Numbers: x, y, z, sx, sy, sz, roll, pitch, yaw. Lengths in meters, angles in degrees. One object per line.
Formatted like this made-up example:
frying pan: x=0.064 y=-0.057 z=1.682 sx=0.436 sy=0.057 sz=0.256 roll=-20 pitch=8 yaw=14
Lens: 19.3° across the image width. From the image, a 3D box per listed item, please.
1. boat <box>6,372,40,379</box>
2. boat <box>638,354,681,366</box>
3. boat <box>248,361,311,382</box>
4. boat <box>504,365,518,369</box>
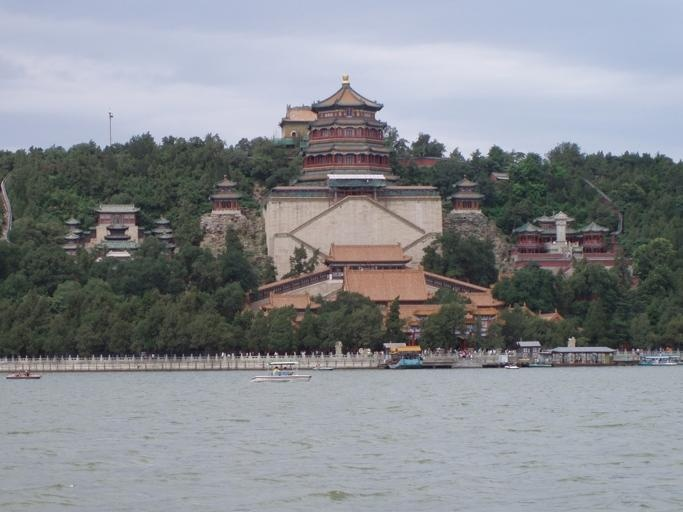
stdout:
boat: x=-20.136 y=7.508 z=126.433 sx=1.785 sy=0.442 sz=0.832 roll=2 pitch=-7 yaw=-4
boat: x=20.937 y=6.784 z=131.698 sx=1.843 sy=0.540 sz=1.080 roll=0 pitch=0 yaw=3
boat: x=-3.719 y=6.991 z=123.843 sx=3.144 sy=0.852 sz=1.434 roll=2 pitch=-4 yaw=-2
boat: x=11.005 y=7.137 z=129.999 sx=0.642 sy=0.139 sz=0.300 roll=1 pitch=7 yaw=-16
